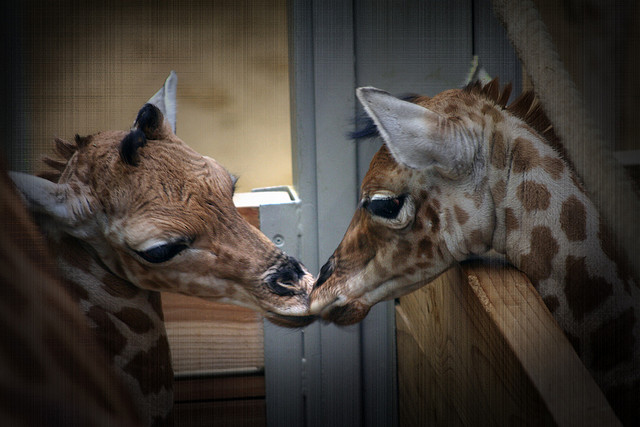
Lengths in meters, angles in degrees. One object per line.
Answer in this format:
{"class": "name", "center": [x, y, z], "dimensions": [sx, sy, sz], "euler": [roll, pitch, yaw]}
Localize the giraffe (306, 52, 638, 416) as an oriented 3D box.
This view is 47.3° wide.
{"class": "giraffe", "center": [0.543, -0.067, 3.252], "dimensions": [1.450, 1.637, 0.777], "euler": [2, 8, 1]}
